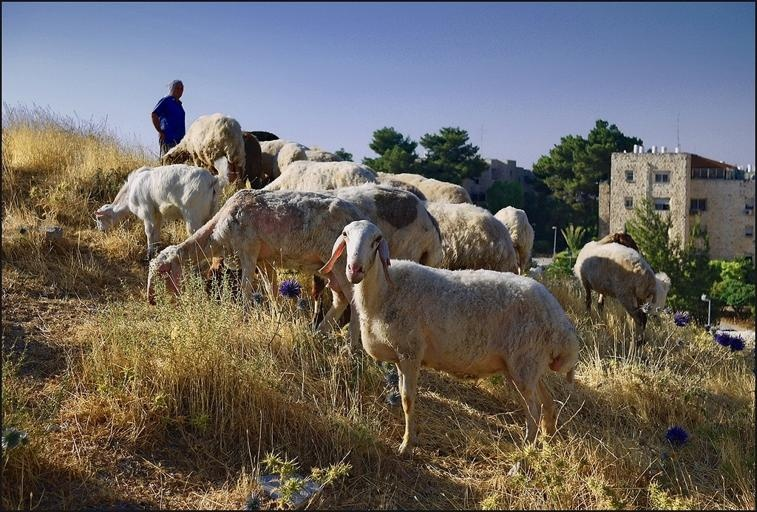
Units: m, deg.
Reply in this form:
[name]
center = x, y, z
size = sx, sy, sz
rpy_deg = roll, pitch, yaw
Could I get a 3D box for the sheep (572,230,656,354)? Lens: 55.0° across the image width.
[sheep]
center = 4.681, 0.596, 13.991
size = 0.718, 1.834, 2.519
rpy_deg = -16, 17, -17
